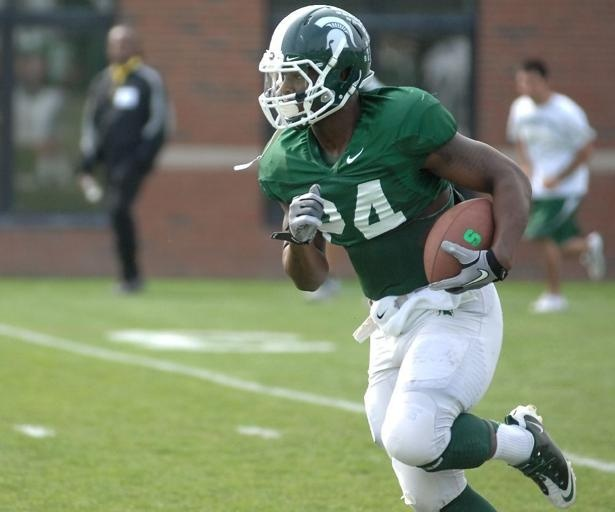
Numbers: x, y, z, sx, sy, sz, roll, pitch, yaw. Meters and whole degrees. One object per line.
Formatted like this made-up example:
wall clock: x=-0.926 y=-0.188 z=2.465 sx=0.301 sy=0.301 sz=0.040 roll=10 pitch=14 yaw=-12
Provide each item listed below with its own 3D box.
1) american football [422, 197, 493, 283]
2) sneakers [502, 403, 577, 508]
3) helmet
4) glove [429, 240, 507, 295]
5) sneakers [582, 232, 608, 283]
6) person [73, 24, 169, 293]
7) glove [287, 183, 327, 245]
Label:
american football: x=0.519 y=-0.055 z=3.718 sx=0.290 sy=0.179 sz=0.193 roll=-37 pitch=51 yaw=-15
sneakers: x=0.873 y=0.785 z=4.154 sx=0.130 sy=0.387 sz=0.167 roll=-42 pitch=-1 yaw=30
helmet: x=0.027 y=-0.649 z=3.796 sx=0.386 sy=0.434 sz=0.287 roll=1 pitch=9 yaw=3
glove: x=0.541 y=0.054 z=3.636 sx=0.200 sy=0.095 sz=0.157 roll=-8 pitch=18 yaw=18
sneakers: x=2.246 y=0.013 z=8.605 sx=0.129 sy=0.396 sz=0.167 roll=-8 pitch=22 yaw=9
person: x=-0.701 y=-0.367 z=4.198 sx=0.270 sy=0.984 sz=0.225 roll=6 pitch=11 yaw=31
glove: x=-0.009 y=-0.134 z=3.712 sx=0.088 sy=0.118 sz=0.180 roll=-20 pitch=20 yaw=-9
